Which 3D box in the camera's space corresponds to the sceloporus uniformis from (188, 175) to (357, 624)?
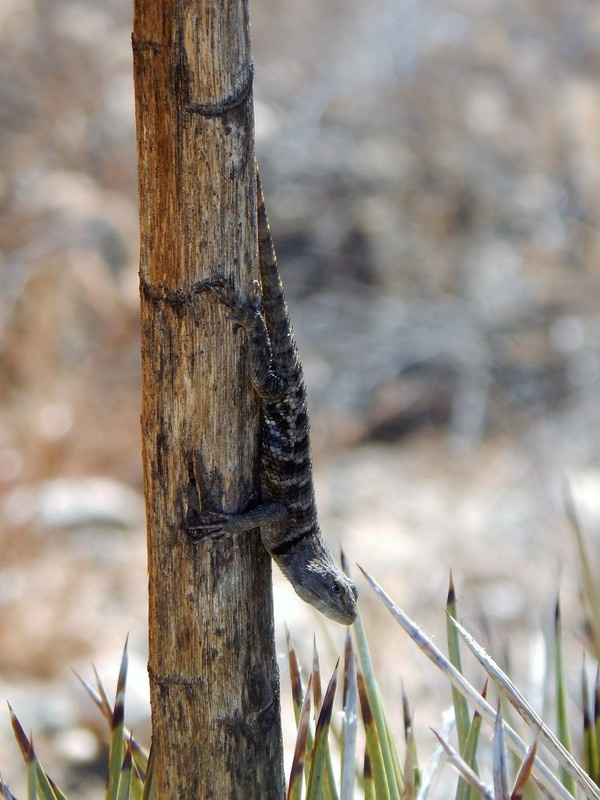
[{"bbox_3d":[-0.088,0.029,4.697,0.167,1.392,0.529,-4,-4,18],"label":"sceloporus uniformis"}]
